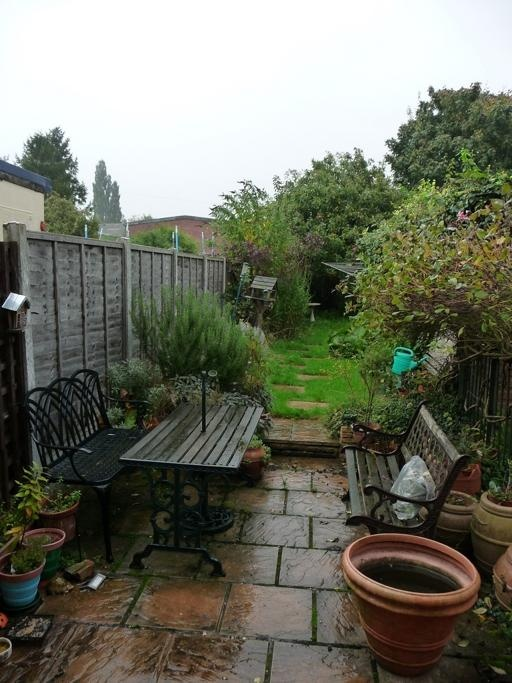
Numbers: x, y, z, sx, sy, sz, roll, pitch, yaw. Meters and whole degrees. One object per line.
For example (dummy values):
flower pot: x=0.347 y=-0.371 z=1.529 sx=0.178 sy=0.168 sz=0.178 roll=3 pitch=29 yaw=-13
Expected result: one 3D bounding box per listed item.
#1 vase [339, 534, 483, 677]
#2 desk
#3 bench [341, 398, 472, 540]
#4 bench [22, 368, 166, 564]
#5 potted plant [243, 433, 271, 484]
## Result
vase: x=0.672 y=1.111 z=2.080 sx=0.631 sy=0.438 sz=0.561 roll=-1 pitch=1 yaw=-7
desk: x=-0.400 y=1.000 z=3.457 sx=0.720 sy=0.689 sz=1.568 roll=2 pitch=4 yaw=4
bench: x=0.929 y=0.938 z=3.216 sx=0.641 sy=0.702 sz=1.295 roll=0 pitch=5 yaw=11
bench: x=-1.185 y=0.912 z=3.313 sx=0.461 sy=0.792 sz=1.131 roll=1 pitch=9 yaw=2
potted plant: x=-0.027 y=1.088 z=4.365 sx=0.428 sy=0.405 sz=0.386 roll=-2 pitch=4 yaw=-5
